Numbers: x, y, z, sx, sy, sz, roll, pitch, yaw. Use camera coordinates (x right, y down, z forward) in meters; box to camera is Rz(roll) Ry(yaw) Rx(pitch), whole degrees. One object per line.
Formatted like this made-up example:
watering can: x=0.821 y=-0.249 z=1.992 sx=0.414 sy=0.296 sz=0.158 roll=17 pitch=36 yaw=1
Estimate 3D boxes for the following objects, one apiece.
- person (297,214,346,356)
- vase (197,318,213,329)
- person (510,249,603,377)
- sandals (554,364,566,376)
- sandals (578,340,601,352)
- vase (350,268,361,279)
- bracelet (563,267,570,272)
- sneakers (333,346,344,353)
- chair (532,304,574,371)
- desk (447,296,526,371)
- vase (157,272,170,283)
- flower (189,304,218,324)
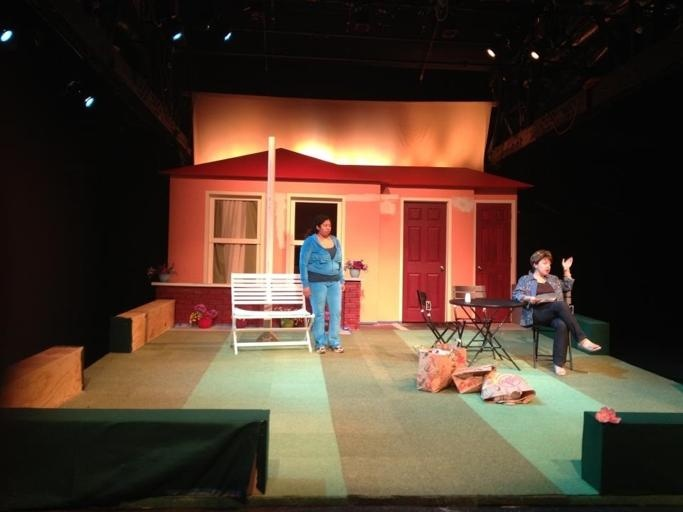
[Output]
person: x=-0.296 y=0.435 z=8.068 sx=0.667 sy=2.068 sz=0.366 roll=1 pitch=-1 yaw=-4
vase: x=-2.505 y=1.245 z=9.720 sx=0.183 sy=0.131 sz=0.191 roll=1 pitch=-4 yaw=-2
person: x=2.956 y=0.725 z=7.373 sx=0.874 sy=1.783 sz=1.039 roll=11 pitch=-16 yaw=-23
sandals: x=2.920 y=1.554 z=7.053 sx=0.076 sy=0.073 sz=0.190 roll=-1 pitch=-8 yaw=7
sandals: x=3.352 y=1.211 z=7.130 sx=0.230 sy=0.181 sz=0.514 roll=0 pitch=-2 yaw=29
vase: x=0.265 y=0.338 z=10.044 sx=0.169 sy=0.209 sz=0.179 roll=0 pitch=-7 yaw=14
bracelet: x=3.420 y=0.209 z=8.029 sx=0.072 sy=0.074 sz=0.074 roll=11 pitch=17 yaw=43
sneakers: x=-0.055 y=1.434 z=8.072 sx=0.175 sy=0.087 sz=0.118 roll=1 pitch=-2 yaw=-4
chair: x=2.951 y=1.107 z=7.246 sx=0.433 sy=0.972 sz=0.552 roll=1 pitch=-2 yaw=-20
desk: x=2.105 y=1.179 z=7.923 sx=1.095 sy=0.947 sz=1.200 roll=1 pitch=-6 yaw=-12
vase: x=-3.331 y=0.406 z=9.847 sx=0.174 sy=0.141 sz=0.180 roll=0 pitch=-2 yaw=-12
flower: x=-2.562 y=1.071 z=9.751 sx=0.330 sy=0.338 sz=0.436 roll=0 pitch=2 yaw=3
